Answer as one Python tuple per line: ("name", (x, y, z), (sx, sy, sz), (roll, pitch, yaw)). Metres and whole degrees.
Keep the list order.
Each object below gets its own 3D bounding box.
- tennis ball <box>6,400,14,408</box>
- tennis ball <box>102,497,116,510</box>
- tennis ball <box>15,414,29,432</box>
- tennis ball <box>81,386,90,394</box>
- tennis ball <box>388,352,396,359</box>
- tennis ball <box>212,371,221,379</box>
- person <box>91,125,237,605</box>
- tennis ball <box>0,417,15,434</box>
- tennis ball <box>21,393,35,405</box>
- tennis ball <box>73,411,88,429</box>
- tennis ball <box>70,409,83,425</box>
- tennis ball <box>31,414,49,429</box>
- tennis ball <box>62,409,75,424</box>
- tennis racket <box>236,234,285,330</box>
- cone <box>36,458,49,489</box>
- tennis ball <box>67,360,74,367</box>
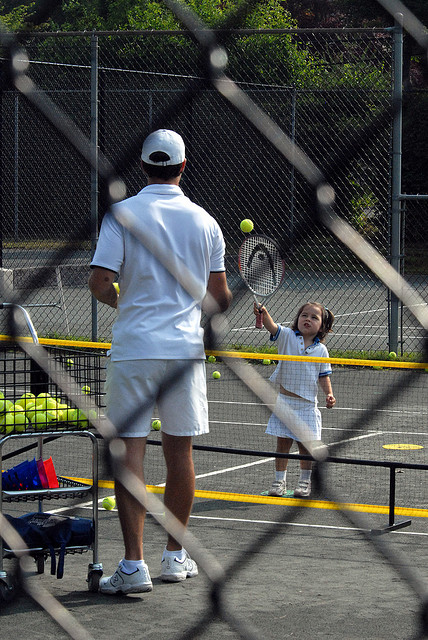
("tennis ball", (-0.858, 0.357, 4.247), (0.022, 0.031, 0.030), (-3, -11, -19))
("tennis ball", (-0.558, 0.977, 5.355), (0.063, 0.066, 0.157), (1, 4, -7))
("tennis ball", (-0.780, 0.419, 4.109), (0.055, 0.065, 0.094), (0, 4, -10))
("tennis ball", (-0.537, 0.294, 4.231), (0.034, 0.028, 0.071), (0, 4, -8))
("tennis ball", (1.697, 0.342, 9.666), (0.056, 0.056, 0.064), (-3, -8, 6))
("tennis ball", (0.021, 0.513, 9.267), (0.056, 0.055, 0.055), (-20, 6, 2))
("person", (-0.204, 0.182, 3.901), (0.575, 1.817, 0.330), (0, 4, -19))
("tennis ball", (-0.828, 0.433, 4.055), (0.056, 0.058, 0.162), (0, 4, -13))
("tennis ball", (-0.778, 0.335, 4.238), (0.048, 0.040, 0.040), (-3, -27, 2))
("tennis ball", (-0.541, 0.411, 4.112), (0.044, 0.058, 0.058), (15, 22, 13))
("tennis ball", (-0.558, 0.399, 4.136), (0.058, 0.057, 0.059), (-1, -8, 0))
("tennis ball", (-0.707, 0.417, 4.109), (0.070, 0.056, 0.038), (1, 4, -2))
("tennis ball", (-0.600, 0.401, 4.171), (0.054, 0.065, 0.054), (1, 3, 0))
("tennis racket", (0.290, -0.227, 6.042), (0.060, 0.545, 0.300), (7, -10, -38))
("cone", (-0.684, 0.618, 4.027), (0.036, 0.098, 0.084), (-1, 5, -31))
("tennis ball", (-0.605, 0.185, 4.265), (0.033, 0.025, 0.034), (3, -3, 0))
